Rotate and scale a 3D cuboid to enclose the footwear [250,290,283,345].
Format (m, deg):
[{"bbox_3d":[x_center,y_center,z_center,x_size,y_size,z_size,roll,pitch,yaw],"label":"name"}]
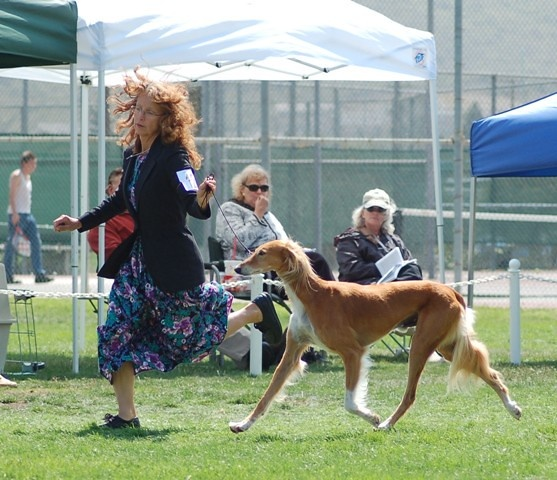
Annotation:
[{"bbox_3d":[-0.073,0.674,9.640,0.173,0.522,0.207,-7,19,41],"label":"footwear"}]

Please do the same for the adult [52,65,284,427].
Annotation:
[{"bbox_3d":[-0.798,0.115,8.950,1.841,2.890,1.328,4,-1,-11],"label":"adult"}]

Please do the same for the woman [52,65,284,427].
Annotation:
[{"bbox_3d":[-0.780,0.131,8.963,1.823,2.846,1.277,4,3,-15],"label":"woman"}]

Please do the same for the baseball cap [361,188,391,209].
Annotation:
[{"bbox_3d":[1.005,-0.419,11.367,0.170,0.152,0.259,3,-3,5],"label":"baseball cap"}]

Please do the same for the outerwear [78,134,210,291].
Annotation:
[{"bbox_3d":[-0.909,-0.196,8.909,0.947,1.003,0.485,-3,-1,20],"label":"outerwear"}]

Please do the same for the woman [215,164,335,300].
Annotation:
[{"bbox_3d":[-0.067,-0.122,11.940,1.207,1.533,0.822,-12,-16,30],"label":"woman"}]

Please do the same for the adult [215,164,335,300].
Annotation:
[{"bbox_3d":[-0.054,-0.132,11.932,1.186,1.465,0.841,-13,-14,35],"label":"adult"}]

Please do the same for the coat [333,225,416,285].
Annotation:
[{"bbox_3d":[0.998,0.137,11.358,0.518,0.687,0.632,-6,-8,-35],"label":"coat"}]
